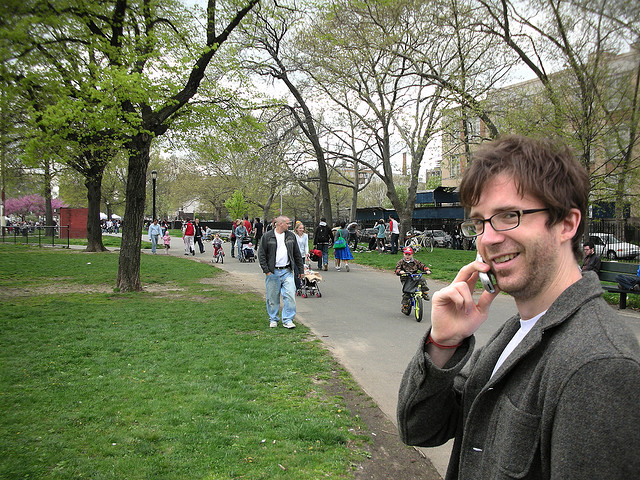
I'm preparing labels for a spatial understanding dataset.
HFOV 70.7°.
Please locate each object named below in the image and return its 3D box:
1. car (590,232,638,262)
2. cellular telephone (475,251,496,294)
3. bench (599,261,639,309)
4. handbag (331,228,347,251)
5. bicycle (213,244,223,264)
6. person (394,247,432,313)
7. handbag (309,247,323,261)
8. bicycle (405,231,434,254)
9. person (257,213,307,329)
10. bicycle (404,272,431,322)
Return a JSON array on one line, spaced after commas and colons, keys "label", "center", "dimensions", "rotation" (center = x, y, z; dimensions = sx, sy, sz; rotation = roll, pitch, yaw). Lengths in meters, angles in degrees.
[{"label": "car", "center": [13.580, 0.319, 20.966], "dimensions": [1.358, 1.373, 3.031], "rotation": [-1, 0, -27]}, {"label": "cellular telephone", "center": [0.782, 0.149, 2.139], "dimensions": [0.085, 0.188, 0.238], "rotation": [2, 2, 20]}, {"label": "bench", "center": [6.842, 0.993, 10.288], "dimensions": [0.443, 0.862, 1.305], "rotation": [-1, 0, -14]}, {"label": "handbag", "center": [0.907, -0.038, 20.041], "dimensions": [0.543, 1.008, 0.489], "rotation": [2, 3, 21]}, {"label": "bicycle", "center": [-5.361, 0.657, 24.062], "dimensions": [0.449, 0.923, 0.605], "rotation": [2, 3, 11]}, {"label": "person", "center": [2.205, 0.911, 10.856], "dimensions": [0.783, 1.582, 1.755], "rotation": [-9, 10, 0]}, {"label": "handbag", "center": [-0.145, 0.567, 16.023], "dimensions": [0.292, 0.364, 0.380], "rotation": [13, 32, -17]}, {"label": "bicycle", "center": [5.935, 0.118, 27.230], "dimensions": [1.978, 1.289, 0.970], "rotation": [-11, 14, -34]}, {"label": "person", "center": [-0.811, 0.637, 9.420], "dimensions": [0.937, 2.303, 0.655], "rotation": [1, 3, -9]}, {"label": "bicycle", "center": [2.213, 1.422, 10.285], "dimensions": [0.382, 0.528, 0.813], "rotation": [0, -4, -6]}]
